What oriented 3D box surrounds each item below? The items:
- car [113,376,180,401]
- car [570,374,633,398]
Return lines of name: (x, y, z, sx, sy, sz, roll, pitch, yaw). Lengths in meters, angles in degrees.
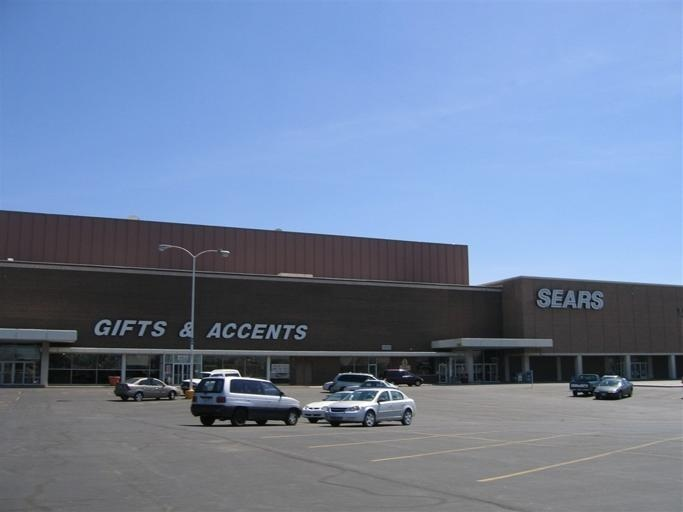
car: (-12.086, 8.228, 43.623, 1.685, 1.336, 3.811, -5, -11, 21)
car: (18.778, 9.427, 50.855, 3.423, 1.620, 5.411, -2, -10, 3)
